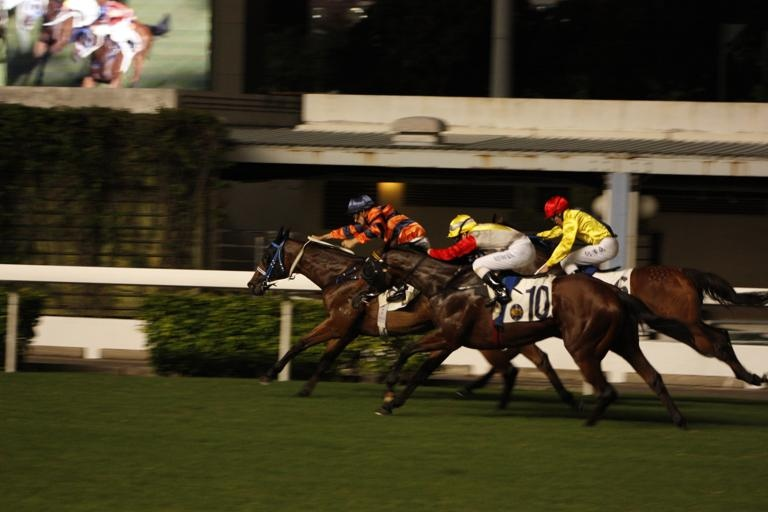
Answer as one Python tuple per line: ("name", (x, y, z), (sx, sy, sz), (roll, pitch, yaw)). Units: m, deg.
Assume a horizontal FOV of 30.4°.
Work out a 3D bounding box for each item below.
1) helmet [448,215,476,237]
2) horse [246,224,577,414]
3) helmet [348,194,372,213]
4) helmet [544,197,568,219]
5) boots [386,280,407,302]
("helmet", (0.876, -0.329, 16.123), (0.373, 0.153, 0.233), (-14, 19, 4))
("horse", (0.421, 0.759, 16.284), (4.832, 1.872, 0.945), (3, 7, 38))
("helmet", (-0.306, -0.625, 16.888), (0.347, 0.117, 0.210), (-15, 2, 0))
("helmet", (2.042, -0.573, 16.757), (0.258, 0.255, 0.318), (4, 4, 4))
("boots", (0.149, 0.414, 16.435), (0.186, 0.244, 0.090), (30, 18, 0))
